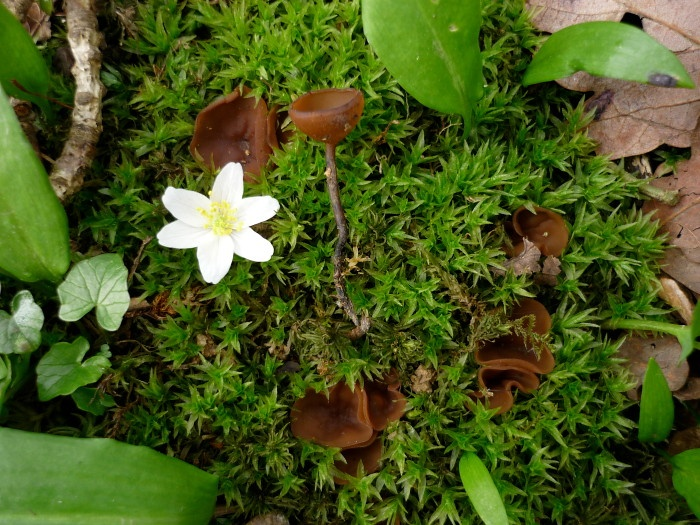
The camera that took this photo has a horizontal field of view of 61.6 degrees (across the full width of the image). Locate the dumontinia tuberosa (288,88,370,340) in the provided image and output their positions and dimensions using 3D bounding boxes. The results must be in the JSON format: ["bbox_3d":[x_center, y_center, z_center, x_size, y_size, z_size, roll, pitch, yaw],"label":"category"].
[{"bbox_3d":[-0.104,-0.302,3.055,0.363,0.796,1.064,-2,74,-1],"label":"dumontinia tuberosa"}]

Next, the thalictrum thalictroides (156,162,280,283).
[{"bbox_3d":[-0.681,-0.176,3.168,0.630,0.357,0.550,-26,77,-9],"label":"thalictrum thalictroides"}]

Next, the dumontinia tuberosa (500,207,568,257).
[{"bbox_3d":[1.062,-0.176,3.351,0.332,0.154,0.284,4,74,-1],"label":"dumontinia tuberosa"}]

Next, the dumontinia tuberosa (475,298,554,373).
[{"bbox_3d":[0.905,0.444,3.361,0.461,0.361,0.400,-7,104,-13],"label":"dumontinia tuberosa"}]

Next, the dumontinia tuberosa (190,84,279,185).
[{"bbox_3d":[-0.671,-0.757,3.536,0.628,0.517,0.595,-12,30,-16],"label":"dumontinia tuberosa"}]

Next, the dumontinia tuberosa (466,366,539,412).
[{"bbox_3d":[0.876,0.721,3.262,0.369,0.218,0.238,7,74,0],"label":"dumontinia tuberosa"}]
